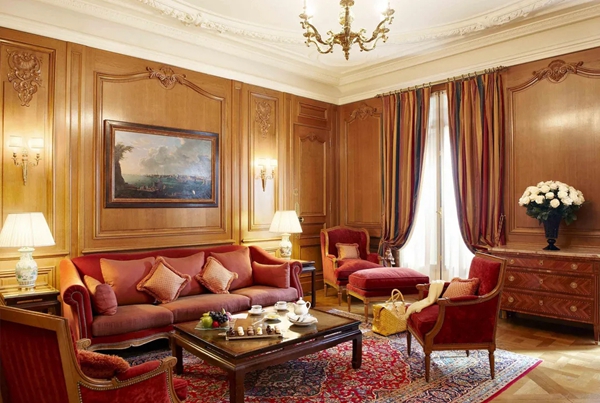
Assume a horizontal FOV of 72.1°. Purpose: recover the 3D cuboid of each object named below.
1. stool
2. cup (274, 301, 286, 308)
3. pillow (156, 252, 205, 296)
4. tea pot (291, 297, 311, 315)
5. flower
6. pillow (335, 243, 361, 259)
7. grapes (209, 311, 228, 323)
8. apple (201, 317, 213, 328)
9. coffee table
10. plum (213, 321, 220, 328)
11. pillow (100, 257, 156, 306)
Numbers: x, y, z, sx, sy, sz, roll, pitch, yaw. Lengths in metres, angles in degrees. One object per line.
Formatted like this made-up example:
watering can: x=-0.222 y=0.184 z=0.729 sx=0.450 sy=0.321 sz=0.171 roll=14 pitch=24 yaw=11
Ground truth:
stool: x=1.273 y=1.265 z=6.384 sx=1.192 sy=0.674 sz=0.783 roll=0 pitch=-4 yaw=-28
cup: x=-0.233 y=1.275 z=5.072 sx=0.098 sy=0.041 sz=0.075 roll=-3 pitch=0 yaw=3
pillow: x=-1.643 y=1.051 z=5.831 sx=0.170 sy=0.536 sz=0.568 roll=-29 pitch=-27 yaw=33
tea pot: x=0.026 y=1.237 z=4.879 sx=0.257 sy=0.203 sz=0.176 roll=0 pitch=-5 yaw=8
flower: x=3.637 y=0.002 z=5.887 sx=0.695 sy=0.532 sz=0.653 roll=-3 pitch=3 yaw=-19
pillow: x=0.873 y=0.882 z=7.307 sx=0.421 sy=0.234 sz=0.375 roll=-1 pitch=7 yaw=-5
grapes: x=-0.915 y=1.269 z=4.599 sx=0.135 sy=0.081 sz=0.150 roll=8 pitch=5 yaw=-20
apple: x=-1.006 y=1.328 z=4.540 sx=0.123 sy=0.107 sz=0.093 roll=-23 pitch=-29 yaw=-8
coffee table: x=-0.314 y=1.657 z=4.555 sx=1.952 sy=0.581 sz=1.058 roll=-3 pitch=7 yaw=-25
plum: x=-0.915 y=1.340 z=4.482 sx=0.065 sy=0.061 sz=0.058 roll=-2 pitch=32 yaw=-15
pillow: x=-2.222 y=1.047 z=5.259 sx=0.582 sy=0.481 sz=0.295 roll=-9 pitch=4 yaw=-43
